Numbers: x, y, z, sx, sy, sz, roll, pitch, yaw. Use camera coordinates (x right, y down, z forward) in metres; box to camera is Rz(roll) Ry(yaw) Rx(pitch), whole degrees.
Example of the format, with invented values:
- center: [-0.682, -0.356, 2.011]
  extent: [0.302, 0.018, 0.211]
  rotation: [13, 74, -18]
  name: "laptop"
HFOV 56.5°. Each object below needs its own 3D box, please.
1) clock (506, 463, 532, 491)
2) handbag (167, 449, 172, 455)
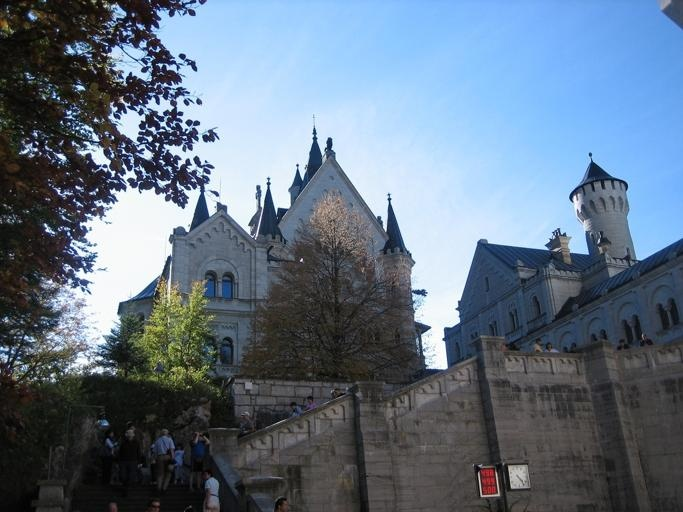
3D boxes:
- center: [4.254, 5.308, 15.406]
  extent: [0.974, 0.654, 0.351]
  rotation: [23, -35, -37]
  name: "clock"
- center: [-5.013, 5.735, 18.526]
  extent: [0.082, 0.108, 0.119]
  rotation: [-8, -37, 5]
  name: "handbag"
